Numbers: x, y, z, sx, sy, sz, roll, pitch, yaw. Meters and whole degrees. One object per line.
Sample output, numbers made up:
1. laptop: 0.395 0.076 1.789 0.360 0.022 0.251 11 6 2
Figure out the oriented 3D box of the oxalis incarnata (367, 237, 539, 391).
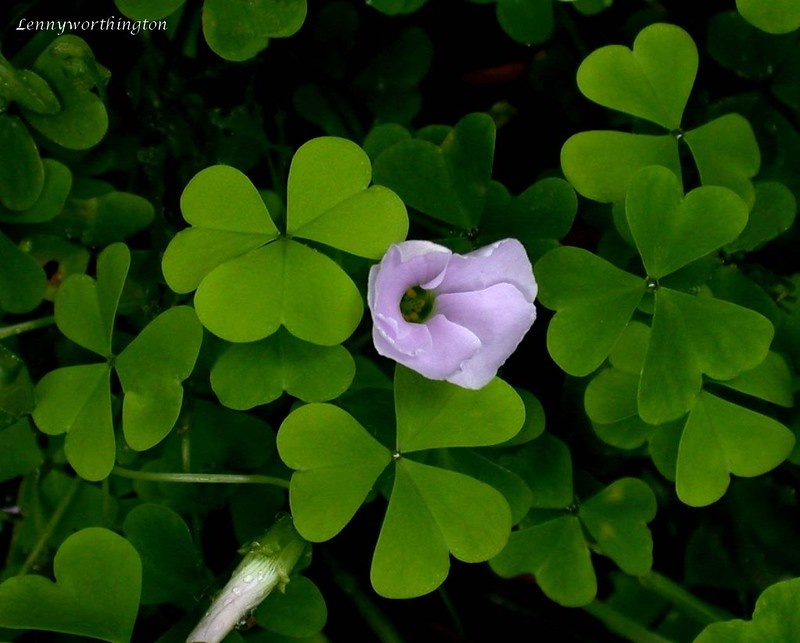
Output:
1. oxalis incarnata: 0.094 -0.009 1.634 0.296 0.151 0.246 -2 77 0
